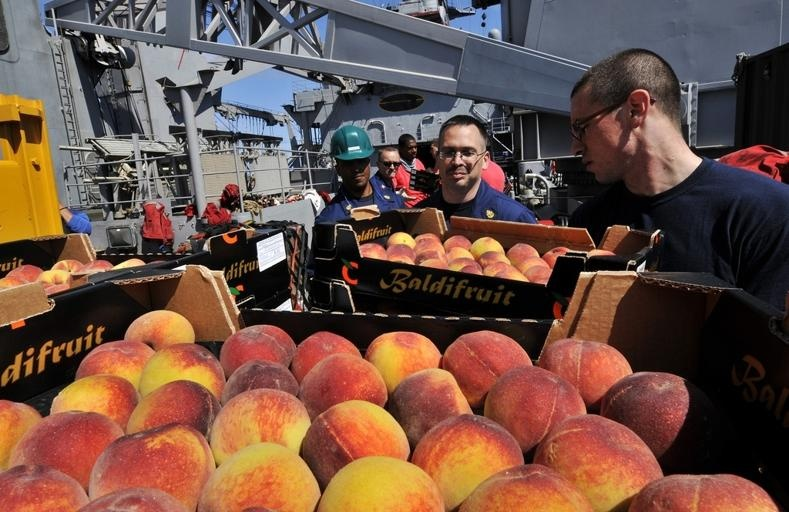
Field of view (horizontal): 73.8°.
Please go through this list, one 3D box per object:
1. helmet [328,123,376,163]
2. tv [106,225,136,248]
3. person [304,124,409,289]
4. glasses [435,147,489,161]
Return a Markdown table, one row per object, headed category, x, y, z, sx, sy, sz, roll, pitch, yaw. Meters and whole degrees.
| category | x | y | z | sx | sy | sz | roll | pitch | yaw |
| --- | --- | --- | --- | --- | --- | --- | --- | --- | --- |
| helmet | -0.523 | -1.351 | 6.329 | 0.464 | 0.402 | 0.469 | 0 | 15 | -7 |
| tv | -6.059 | -0.434 | 11.685 | 0.435 | 0.462 | 0.249 | -4 | 7 | -5 |
| person | -0.441 | -0.581 | 6.381 | 0.645 | 1.843 | 0.815 | -1 | 3 | 24 |
| glasses | 0.660 | -1.011 | 5.201 | 0.451 | 0.122 | 0.173 | 2 | 15 | -1 |
